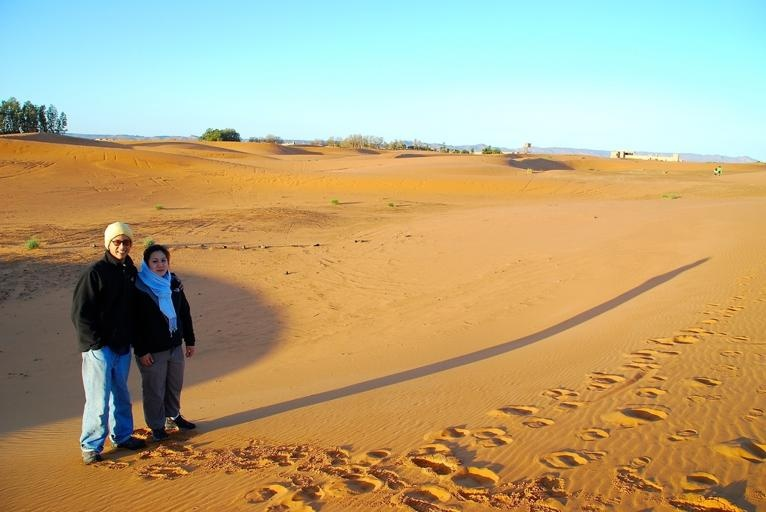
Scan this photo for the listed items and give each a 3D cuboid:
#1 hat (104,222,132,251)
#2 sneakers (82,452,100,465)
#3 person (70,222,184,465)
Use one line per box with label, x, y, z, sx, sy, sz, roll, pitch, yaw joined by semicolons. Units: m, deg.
hat;-2.982;-0.240;6.204;0.273;0.297;0.365;0;10;-8
sneakers;-3.176;2.189;5.978;0.189;0.115;0.137;-2;11;-18
person;-3.053;0.934;6.036;0.655;2.592;0.770;-4;15;-22
